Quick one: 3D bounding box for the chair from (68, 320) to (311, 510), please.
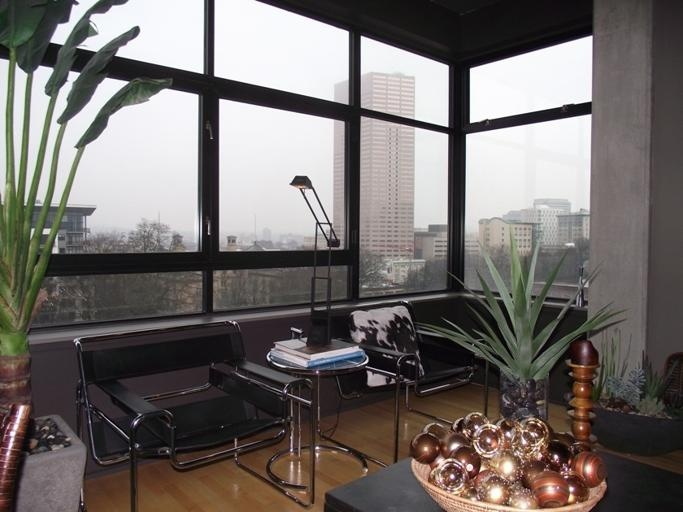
[{"bbox_3d":[-0.866,0.797,2.929,1.264,1.185,0.950,-1,2,-36],"label":"chair"}]

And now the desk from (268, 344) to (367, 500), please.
[{"bbox_3d":[-0.165,0.994,3.197,0.593,0.722,0.630,1,1,-4],"label":"desk"}]

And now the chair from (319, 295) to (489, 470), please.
[{"bbox_3d":[0.444,0.703,3.762,0.916,1.192,1.079,0,0,45],"label":"chair"}]

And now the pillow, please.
[{"bbox_3d":[0.333,0.659,3.793,0.145,0.514,0.481,-27,-21,38],"label":"pillow"}]
